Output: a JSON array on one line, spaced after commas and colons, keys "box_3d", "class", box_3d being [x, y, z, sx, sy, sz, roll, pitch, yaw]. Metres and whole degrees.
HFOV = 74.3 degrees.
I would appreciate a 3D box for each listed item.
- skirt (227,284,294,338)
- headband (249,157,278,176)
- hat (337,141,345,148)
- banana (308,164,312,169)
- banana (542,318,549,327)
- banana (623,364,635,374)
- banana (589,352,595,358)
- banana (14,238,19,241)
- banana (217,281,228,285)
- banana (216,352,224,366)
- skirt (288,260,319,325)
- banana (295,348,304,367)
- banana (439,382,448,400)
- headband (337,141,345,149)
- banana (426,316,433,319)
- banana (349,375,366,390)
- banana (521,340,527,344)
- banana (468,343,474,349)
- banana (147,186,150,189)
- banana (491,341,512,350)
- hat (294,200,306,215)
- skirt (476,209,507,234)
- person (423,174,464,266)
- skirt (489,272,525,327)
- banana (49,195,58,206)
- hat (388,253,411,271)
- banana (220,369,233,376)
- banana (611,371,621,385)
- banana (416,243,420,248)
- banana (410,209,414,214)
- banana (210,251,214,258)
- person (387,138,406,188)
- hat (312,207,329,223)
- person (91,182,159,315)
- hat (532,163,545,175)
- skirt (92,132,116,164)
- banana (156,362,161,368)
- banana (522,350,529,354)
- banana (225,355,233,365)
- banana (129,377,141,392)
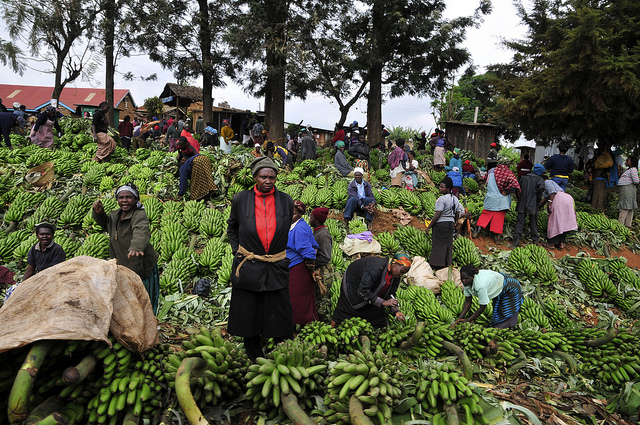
[{"box_3d": [-0.851, 1.416, 6.593, 1.034, 1.249, 0.725, 1, 1, -3], "class": "skirt"}, {"box_3d": [-0.827, -0.688, 6.345, 0.398, 0.268, 0.259, 4, 7, -5], "class": "headband"}, {"box_3d": [0.682, -2.123, 13.282, 0.208, 0.162, 0.211, -3, 1, -8], "class": "hat"}, {"box_3d": [-0.312, -1.413, 13.240, 0.081, 0.124, 0.042, 6, 7, 15], "class": "banana"}, {"box_3d": [4.490, 2.180, 8.365, 0.059, 0.129, 0.288, 10, 9, 40], "class": "banana"}, {"box_3d": [5.162, 2.605, 7.036, 0.047, 0.065, 0.201, -33, 31, 10], "class": "banana"}, {"box_3d": [4.799, 2.508, 7.437, 0.046, 0.088, 0.079, 2, 8, -16], "class": "banana"}, {"box_3d": [-7.044, 0.634, 9.802, 0.044, 0.073, 0.017, 35, -19, 2], "class": "banana"}, {"box_3d": [-2.005, 1.464, 8.723, 0.224, 0.064, 0.060, 9, 8, 26], "class": "banana"}, {"box_3d": [-1.344, 1.969, 5.666, 0.086, 0.162, 0.052, -2, 9, -1], "class": "banana"}, {"box_3d": [-0.262, 1.401, 7.343, 0.585, 1.115, 0.173, -1, 8, -35], "class": "skirt"}, {"box_3d": [-0.282, 2.004, 5.770, 0.091, 0.286, 0.055, -1, 9, 7], "class": "banana"}, {"box_3d": [1.626, 2.334, 5.506, 0.050, 0.070, 0.197, -22, 39, 12], "class": "banana"}, {"box_3d": [0.661, -2.102, 13.278, 0.180, 0.165, 0.360, 4, 8, -1], "class": "headband"}, {"box_3d": [2.115, 2.029, 8.131, 0.125, 0.051, 0.047, 8, 8, 23], "class": "banana"}, {"box_3d": [0.498, 2.201, 5.559, 0.093, 0.089, 0.297, 35, 35, 28], "class": "banana"}, {"box_3d": [3.647, 2.327, 7.559, 0.058, 0.034, 0.060, -2, -9, 3], "class": "banana"}, {"box_3d": [2.679, 2.363, 7.472, 0.102, 0.059, 0.053, 36, -1, 4], "class": "banana"}, {"box_3d": [-4.746, -0.679, 11.692, 0.024, 0.067, 0.048, -1, 5, 20], "class": "banana"}, {"box_3d": [3.165, 2.345, 7.448, 0.410, 0.120, 0.153, 2, 8, -16], "class": "banana"}, {"box_3d": [-0.320, -0.114, 7.913, 0.213, 0.139, 0.248, 30, -15, 42], "class": "hat"}, {"box_3d": [4.512, 0.222, 11.068, 0.741, 0.565, 0.932, 18, 13, 28], "class": "skirt"}, {"box_3d": [2.792, 0.240, 9.467, 0.639, 2.022, 0.363, 5, 7, 8], "class": "person"}, {"box_3d": [3.487, 1.620, 7.868, 0.863, 0.266, 0.564, -41, -9, 20], "class": "skirt"}, {"box_3d": [-6.970, -0.285, 11.030, 0.112, 0.185, 0.371, 1, 8, -24], "class": "banana"}, {"box_3d": [1.380, 0.849, 7.249, 0.344, 0.296, 0.344, 7, 8, 17], "class": "hat"}, {"box_3d": [-1.236, 2.169, 5.702, 0.103, 0.061, 0.041, -2, 24, 11], "class": "banana"}, {"box_3d": [4.949, 2.771, 7.065, 0.088, 0.156, 0.146, 3, 7, -10], "class": "banana"}, {"box_3d": [2.371, 0.803, 10.157, 0.055, 0.094, 0.026, 0, -5, -10], "class": "banana"}, {"box_3d": [2.494, -0.021, 11.401, 0.032, 0.111, 0.109, 13, -1, 32], "class": "banana"}, {"box_3d": [-2.368, 0.913, 9.347, 0.022, 0.102, 0.028, 31, -9, -1], "class": "banana"}, {"box_3d": [2.279, -1.380, 12.437, 0.646, 1.503, 0.564, 0, 3, 41], "class": "person"}, {"box_3d": [0.012, 0.021, 7.965, 0.212, 0.213, 0.280, 16, -35, -2], "class": "hat"}, {"box_3d": [-3.157, 0.639, 6.936, 0.921, 2.165, 0.599, 6, 7, 11], "class": "person"}, {"box_3d": [5.835, -1.108, 11.327, 0.181, 0.263, 0.361, 13, -27, -1], "class": "hat"}, {"box_3d": [-6.755, -2.023, 13.294, 0.537, 0.930, 0.452, 0, 8, -29], "class": "skirt"}, {"box_3d": [-2.172, 2.066, 5.729, 0.065, 0.040, 0.035, 12, 10, 42], "class": "banana"}, {"box_3d": [3.643, 2.478, 7.484, 0.082, 0.061, 0.181, 2, -6, 31], "class": "banana"}, {"box_3d": [-1.225, 1.993, 5.712, 0.077, 0.103, 0.058, -3, 4, -18], "class": "banana"}, {"box_3d": [-2.398, 2.220, 5.448, 0.076, 0.045, 0.141, 25, 23, -16], "class": "banana"}]
